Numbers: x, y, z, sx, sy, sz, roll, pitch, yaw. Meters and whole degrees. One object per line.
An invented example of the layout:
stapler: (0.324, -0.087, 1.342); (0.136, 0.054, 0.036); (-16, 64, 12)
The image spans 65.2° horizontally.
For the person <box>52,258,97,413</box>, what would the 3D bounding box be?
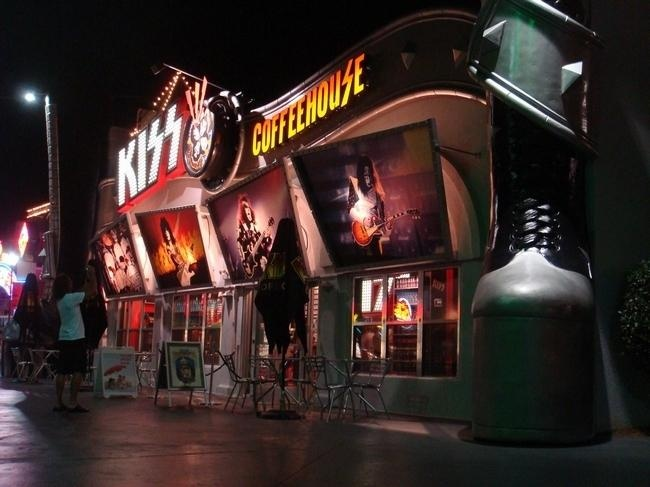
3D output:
person: (-4.604, 1.767, 9.179); (0.666, 2.473, 0.584); (-5, -12, 27)

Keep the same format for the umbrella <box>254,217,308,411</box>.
umbrella: (-0.913, 1.519, 10.999); (1.033, 4.024, 2.132); (1, -11, -4)

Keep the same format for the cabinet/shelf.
cabinet/shelf: (1.786, 1.712, 10.813); (0.785, 2.143, 0.258); (-7, -23, 27)
